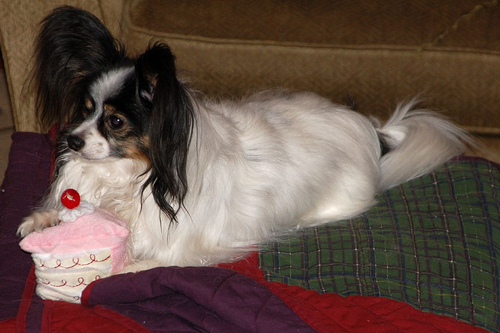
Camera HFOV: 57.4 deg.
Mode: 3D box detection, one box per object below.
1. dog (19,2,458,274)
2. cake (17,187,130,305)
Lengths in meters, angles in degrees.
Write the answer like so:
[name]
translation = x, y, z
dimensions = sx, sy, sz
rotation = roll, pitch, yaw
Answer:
[dog]
translation = 0.008, -0.242, 2.896
dimensions = 2.404, 1.015, 1.284
rotation = -5, 11, -19
[cake]
translation = -0.821, 0.369, 2.185
dimensions = 0.440, 0.419, 0.316
rotation = -21, 43, -33
